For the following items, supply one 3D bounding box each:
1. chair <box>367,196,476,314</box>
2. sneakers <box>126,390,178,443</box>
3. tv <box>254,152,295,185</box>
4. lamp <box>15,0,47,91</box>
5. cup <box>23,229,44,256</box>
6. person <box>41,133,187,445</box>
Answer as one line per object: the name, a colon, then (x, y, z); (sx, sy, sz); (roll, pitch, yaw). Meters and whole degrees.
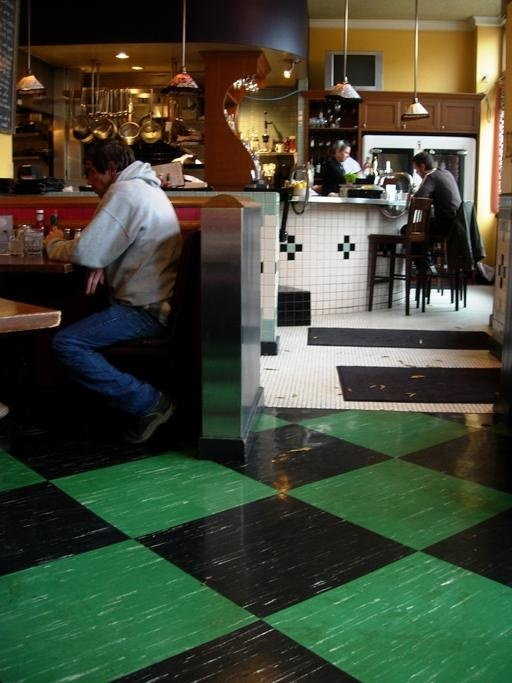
chair: (1.878, -1.030, 6.148); (0.602, 1.220, 1.485); (6, 11, 30)
sneakers: (-0.425, 0.296, 2.352); (0.112, 0.135, 0.314); (23, 50, 25)
tv: (0.332, -2.810, 8.724); (0.596, 0.596, 0.527); (0, 5, 3)
lamp: (-2.678, -3.344, 6.293); (0.268, 1.083, 1.199); (-2, 6, -22)
cup: (-1.022, -0.461, 2.451); (0.123, 0.096, 0.079); (5, 9, 20)
person: (-0.599, -0.226, 2.289); (0.539, 1.338, 0.364); (-2, 5, -21)
